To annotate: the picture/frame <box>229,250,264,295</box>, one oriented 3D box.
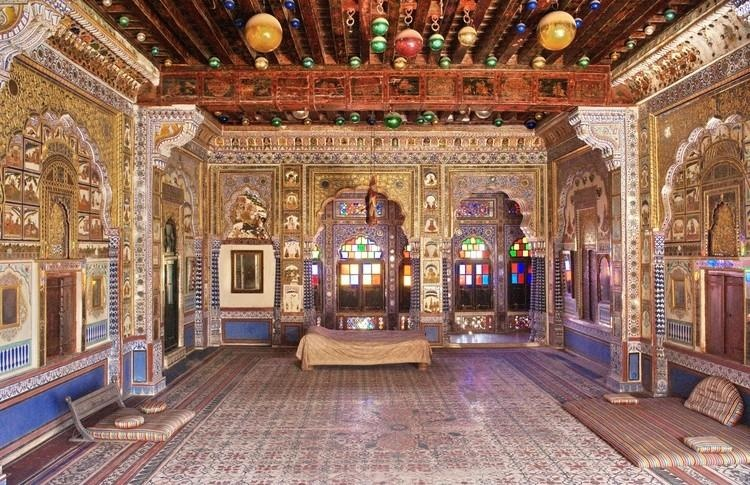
[{"bbox_3d":[-2.955,0.674,12.495,1.008,1.297,0.129,1,1,-2],"label":"picture/frame"}]
